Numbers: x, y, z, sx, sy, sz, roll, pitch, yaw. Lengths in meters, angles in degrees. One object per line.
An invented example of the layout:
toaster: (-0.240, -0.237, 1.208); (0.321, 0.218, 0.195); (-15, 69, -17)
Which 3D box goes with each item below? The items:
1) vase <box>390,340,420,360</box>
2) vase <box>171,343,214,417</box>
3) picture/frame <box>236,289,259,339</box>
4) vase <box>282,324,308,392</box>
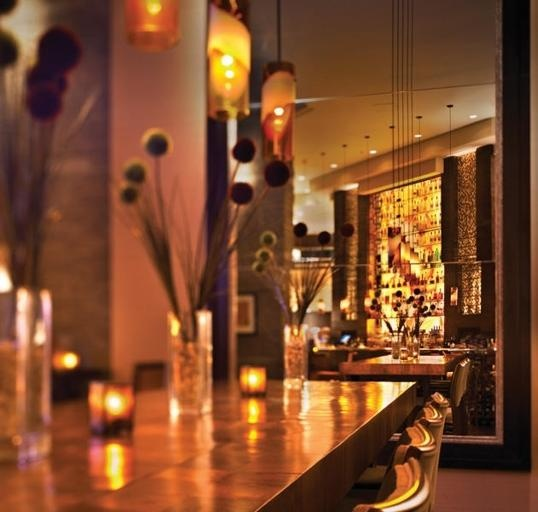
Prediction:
vase: (1.026, 0.724, 5.686); (0.152, 0.125, 0.147); (-7, -9, 44)
vase: (-0.216, 0.351, 1.964); (0.123, 0.240, 0.132); (3, -43, -10)
picture/frame: (-0.204, 0.420, 5.500); (0.245, 0.369, 0.035); (-1, 26, -3)
vase: (0.110, 0.407, 3.035); (0.091, 0.239, 0.206); (1, -7, 2)
